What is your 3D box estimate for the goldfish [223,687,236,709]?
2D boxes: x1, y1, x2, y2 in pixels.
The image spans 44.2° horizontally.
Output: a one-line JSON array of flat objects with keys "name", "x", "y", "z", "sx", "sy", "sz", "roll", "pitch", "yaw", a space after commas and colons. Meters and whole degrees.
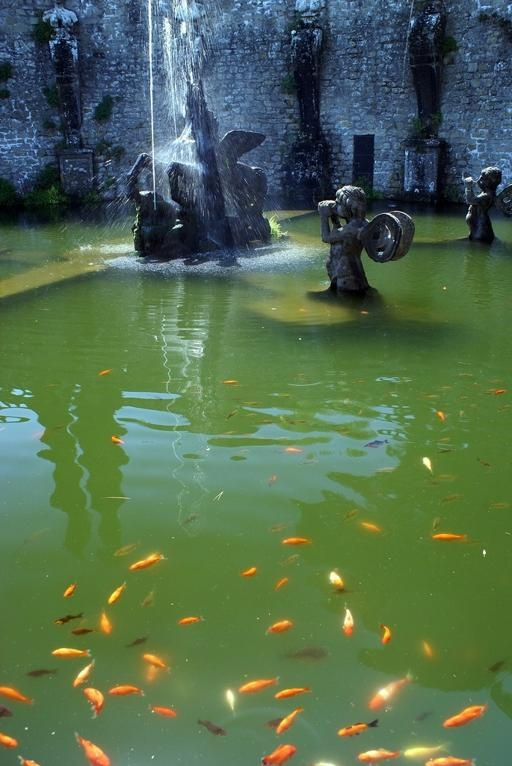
[{"name": "goldfish", "x": -0.074, "y": 0.917, "z": 1.832, "sx": 0.027, "sy": 0.026, "sz": 0.078, "roll": -4, "pitch": 39, "yaw": -2}]

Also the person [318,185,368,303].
[{"name": "person", "x": 0.898, "y": -1.431, "z": 6.371, "sx": 0.518, "sy": 1.077, "sz": 0.725, "roll": 1, "pitch": 15, "yaw": 10}]

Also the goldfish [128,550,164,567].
[{"name": "goldfish", "x": -0.421, "y": 0.688, "z": 2.436, "sx": 0.077, "sy": 0.023, "sz": 0.149, "roll": 10, "pitch": 18, "yaw": 39}]
